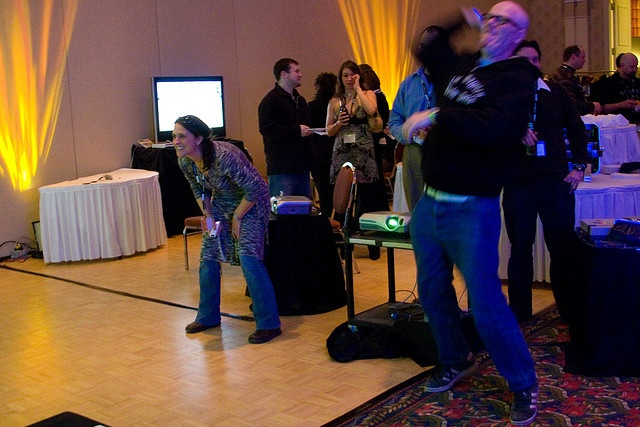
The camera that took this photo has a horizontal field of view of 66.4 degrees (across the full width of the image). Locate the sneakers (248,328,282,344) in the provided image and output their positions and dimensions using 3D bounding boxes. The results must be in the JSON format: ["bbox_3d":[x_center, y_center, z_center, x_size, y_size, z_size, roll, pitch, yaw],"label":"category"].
[{"bbox_3d":[-0.408,0.905,3.633,0.230,0.093,0.092,3,-5,-38],"label":"sneakers"}]

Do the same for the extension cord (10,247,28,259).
[{"bbox_3d":[-3.775,0.503,6.180,0.204,0.114,0.178,-14,16,-39],"label":"extension cord"}]

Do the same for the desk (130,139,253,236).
[{"bbox_3d":[-2.034,-0.319,7.565,2.072,1.412,1.262,-10,12,-42],"label":"desk"}]

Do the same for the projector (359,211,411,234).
[{"bbox_3d":[0.476,0.064,3.293,0.392,0.124,0.205,7,16,40],"label":"projector"}]

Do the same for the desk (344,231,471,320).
[{"bbox_3d":[0.568,0.442,3.393,0.512,0.573,0.651,-4,1,-41],"label":"desk"}]

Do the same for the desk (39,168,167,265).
[{"bbox_3d":[-2.755,0.042,6.189,0.987,0.790,1.457,-5,6,5],"label":"desk"}]

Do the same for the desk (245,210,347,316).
[{"bbox_3d":[-0.083,0.421,4.339,0.745,0.770,0.808,-10,0,9],"label":"desk"}]

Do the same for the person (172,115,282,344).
[{"bbox_3d":[-0.692,0.103,3.681,0.750,1.661,0.408,2,14,24],"label":"person"}]

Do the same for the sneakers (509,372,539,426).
[{"bbox_3d":[1.052,0.970,2.507,0.096,0.107,0.282,-4,5,29],"label":"sneakers"}]

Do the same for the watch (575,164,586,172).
[{"bbox_3d":[1.880,-0.325,3.537,0.062,0.042,0.060,0,0,-3],"label":"watch"}]

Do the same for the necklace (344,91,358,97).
[{"bbox_3d":[0.287,-1.168,4.822,0.134,0.054,0.032,5,16,34],"label":"necklace"}]

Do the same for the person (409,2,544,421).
[{"bbox_3d":[0.709,0.054,2.364,0.642,2.065,0.929,4,15,30],"label":"person"}]

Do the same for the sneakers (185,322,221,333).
[{"bbox_3d":[-0.905,0.904,3.847,0.238,0.095,0.093,3,0,-14],"label":"sneakers"}]
